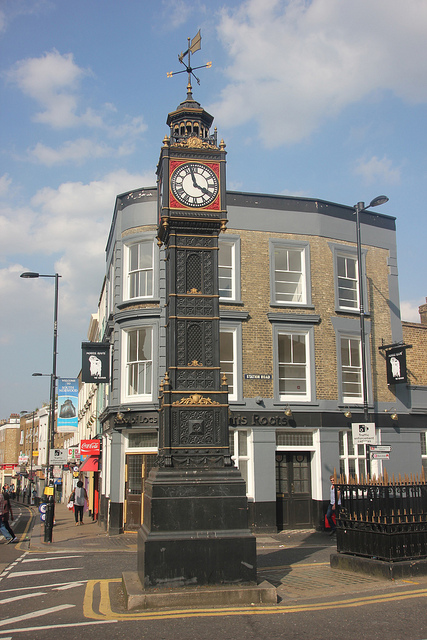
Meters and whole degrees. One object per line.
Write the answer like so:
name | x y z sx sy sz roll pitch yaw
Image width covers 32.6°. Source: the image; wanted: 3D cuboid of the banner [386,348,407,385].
banner | 6.165 1.546 24.323 0.259 1.135 0.978 4 -12 -21

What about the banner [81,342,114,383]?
banner | -3.808 1.399 24.559 0.996 1.440 1.252 -4 -2 5

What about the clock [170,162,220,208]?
clock | -0.340 -2.241 12.276 0.798 0.778 0.061 13 -31 -16

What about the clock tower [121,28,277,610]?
clock tower | -0.322 -0.564 11.637 1.727 9.404 2.141 0 -11 -2

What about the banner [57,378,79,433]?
banner | -5.724 3.283 28.546 0.774 2.122 1.541 2 -11 -12
